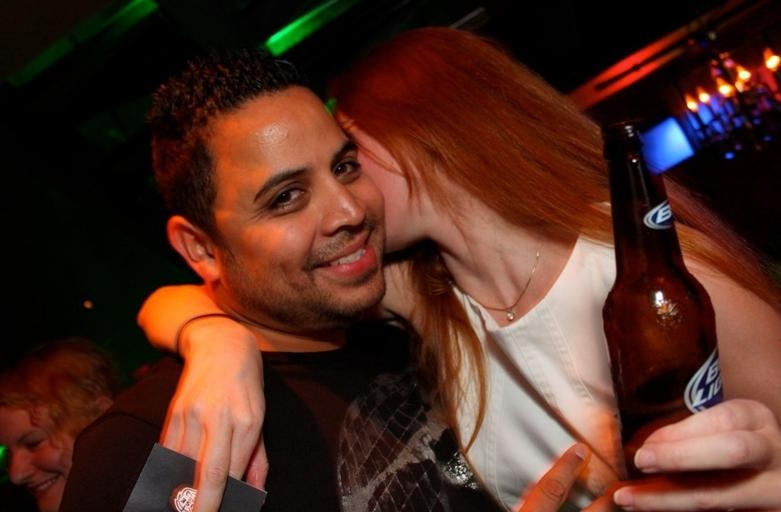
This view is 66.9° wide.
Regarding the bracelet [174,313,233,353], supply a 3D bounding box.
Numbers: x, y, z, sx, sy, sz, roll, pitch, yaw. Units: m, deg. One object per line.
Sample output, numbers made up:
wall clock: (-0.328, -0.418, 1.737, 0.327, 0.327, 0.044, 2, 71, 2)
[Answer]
bracelet: (-0.771, 0.300, 2.428, 0.271, 0.149, 0.058, -16, -20, 0)
